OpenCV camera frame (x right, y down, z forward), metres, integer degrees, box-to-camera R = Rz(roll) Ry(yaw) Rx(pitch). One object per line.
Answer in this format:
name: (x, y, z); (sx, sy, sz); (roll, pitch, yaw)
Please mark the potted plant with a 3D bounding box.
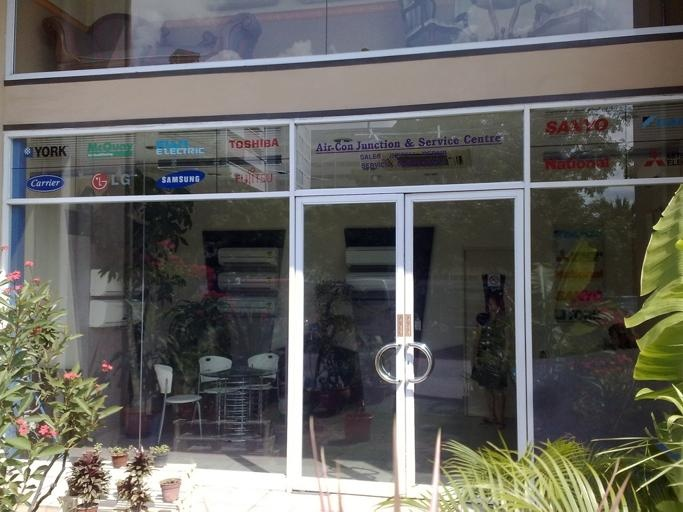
potted plant: (-2.146, 2.096, 7.239); (0.599, 0.472, 0.615); (3, -13, 2)
